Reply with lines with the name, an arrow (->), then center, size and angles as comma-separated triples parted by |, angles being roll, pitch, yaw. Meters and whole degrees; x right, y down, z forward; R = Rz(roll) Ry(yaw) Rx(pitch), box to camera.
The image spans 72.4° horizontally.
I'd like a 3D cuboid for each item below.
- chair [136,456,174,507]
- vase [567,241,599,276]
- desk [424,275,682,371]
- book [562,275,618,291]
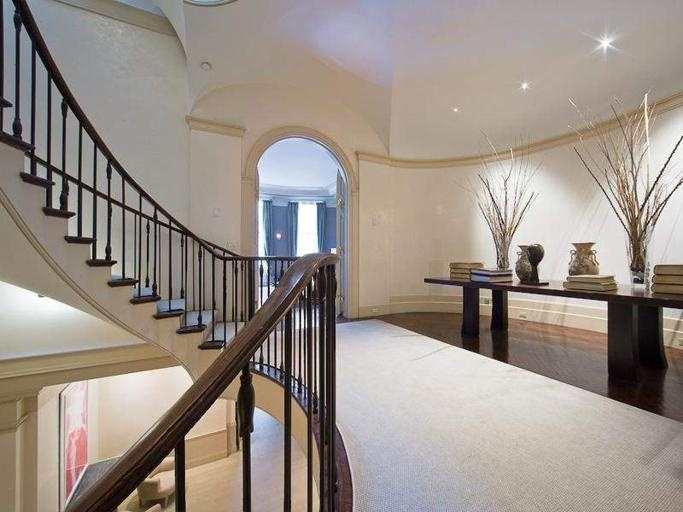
chair -> -2.543, 3.133, 6.453 | 0.454, 0.463, 0.656 | -2, 9, -4
vase -> 2.624, 0.024, 5.044 | 0.259, 0.338, 0.416 | 4, 10, 29
desk -> 2.516, 0.617, 5.626 | 1.649, 0.962, 2.834 | -8, 11, -40
book -> 2.455, 0.262, 4.609 | 0.221, 0.097, 0.281 | -2, 3, -34
